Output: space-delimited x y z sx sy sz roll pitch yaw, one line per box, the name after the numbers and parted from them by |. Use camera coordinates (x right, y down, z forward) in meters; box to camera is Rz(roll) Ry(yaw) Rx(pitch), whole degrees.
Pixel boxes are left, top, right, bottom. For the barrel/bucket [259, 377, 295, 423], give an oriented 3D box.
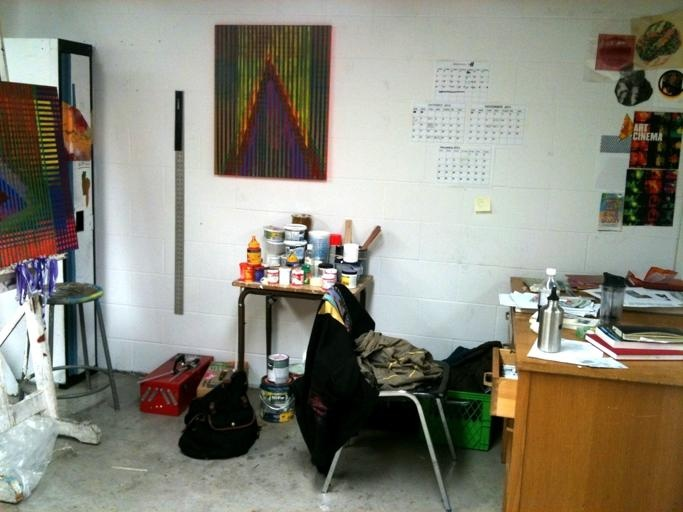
-0.389 0.906 3.752 0.320 0.328 0.334 0 1 0 | barrel/bucket

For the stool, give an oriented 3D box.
-1.683 0.510 3.642 0.429 0.940 0.431 6 12 6 | stool

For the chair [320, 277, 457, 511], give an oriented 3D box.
0.297 0.929 3.169 0.704 0.663 0.717 3 10 12 | chair

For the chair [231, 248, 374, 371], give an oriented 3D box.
-0.338 0.363 3.972 0.887 0.682 0.553 5 10 15 | chair

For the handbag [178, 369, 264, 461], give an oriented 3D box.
-0.753 0.955 3.409 0.479 0.347 0.474 -2 10 -18 | handbag
